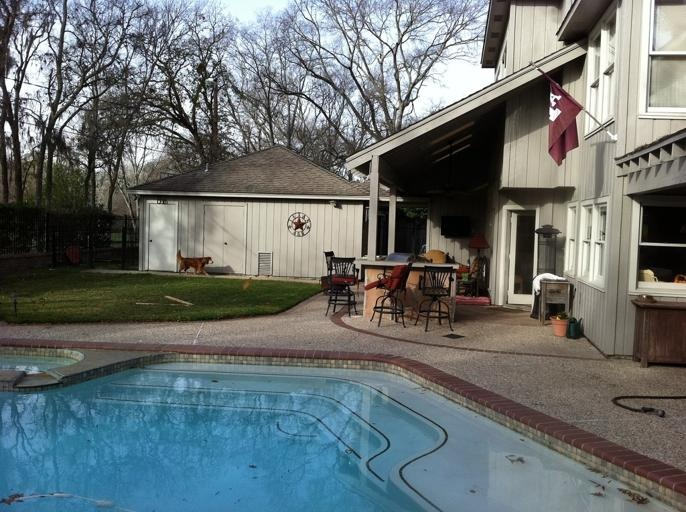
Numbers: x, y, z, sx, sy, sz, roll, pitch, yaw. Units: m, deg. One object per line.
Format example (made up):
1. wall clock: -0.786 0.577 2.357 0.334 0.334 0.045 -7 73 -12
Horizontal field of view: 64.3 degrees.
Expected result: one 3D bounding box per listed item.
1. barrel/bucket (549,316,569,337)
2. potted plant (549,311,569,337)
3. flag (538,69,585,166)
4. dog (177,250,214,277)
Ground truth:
1. barrel/bucket: 4.246 1.374 10.666 0.295 0.358 0.273 0 10 0
2. potted plant: 4.247 1.358 10.771 0.368 0.312 0.394 1 3 1
3. flag: 3.999 -2.617 10.048 0.731 0.294 2.257 -5 -42 24
4. dog: -5.584 0.239 20.397 1.395 0.820 0.575 3 11 17
